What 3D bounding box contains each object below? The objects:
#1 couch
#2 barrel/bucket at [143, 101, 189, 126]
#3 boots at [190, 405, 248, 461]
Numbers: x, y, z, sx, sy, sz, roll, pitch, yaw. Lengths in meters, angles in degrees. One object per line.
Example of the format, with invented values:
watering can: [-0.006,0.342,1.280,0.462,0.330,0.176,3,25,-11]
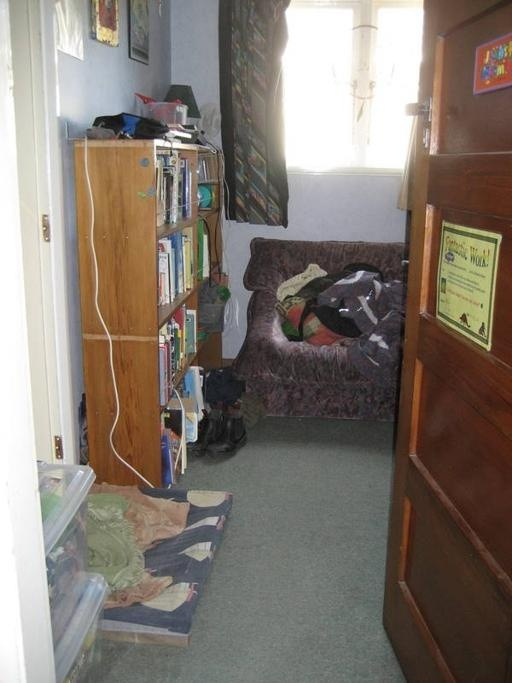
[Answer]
couch: [0.359,-0.104,3.329,1.008,1.054,1.008,3,12,9]
barrel/bucket: [-0.489,-1.225,2.740,0.225,0.146,0.324,-2,13,-13]
boots: [-0.196,0.472,2.767,0.257,0.288,0.210,5,-7,-41]
